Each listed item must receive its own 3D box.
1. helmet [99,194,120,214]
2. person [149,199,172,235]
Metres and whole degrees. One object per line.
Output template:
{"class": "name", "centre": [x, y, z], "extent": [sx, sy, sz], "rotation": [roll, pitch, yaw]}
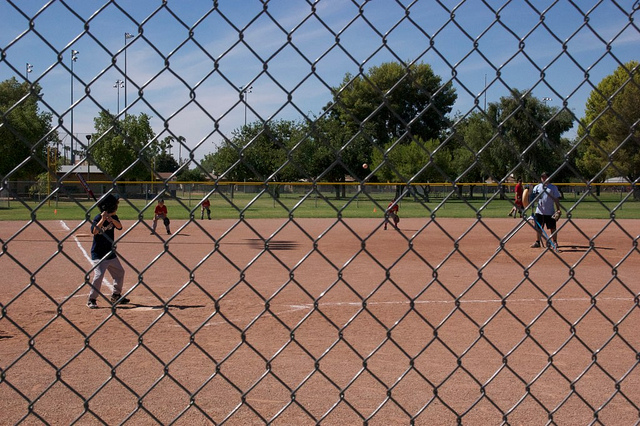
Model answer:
{"class": "helmet", "centre": [-2.864, -0.128, 10.611], "extent": [0.222, 0.273, 0.301], "rotation": [17, 26, 36]}
{"class": "person", "centre": [-4.396, 0.084, 21.524], "extent": [0.644, 0.932, 0.662], "rotation": [9, 13, 40]}
